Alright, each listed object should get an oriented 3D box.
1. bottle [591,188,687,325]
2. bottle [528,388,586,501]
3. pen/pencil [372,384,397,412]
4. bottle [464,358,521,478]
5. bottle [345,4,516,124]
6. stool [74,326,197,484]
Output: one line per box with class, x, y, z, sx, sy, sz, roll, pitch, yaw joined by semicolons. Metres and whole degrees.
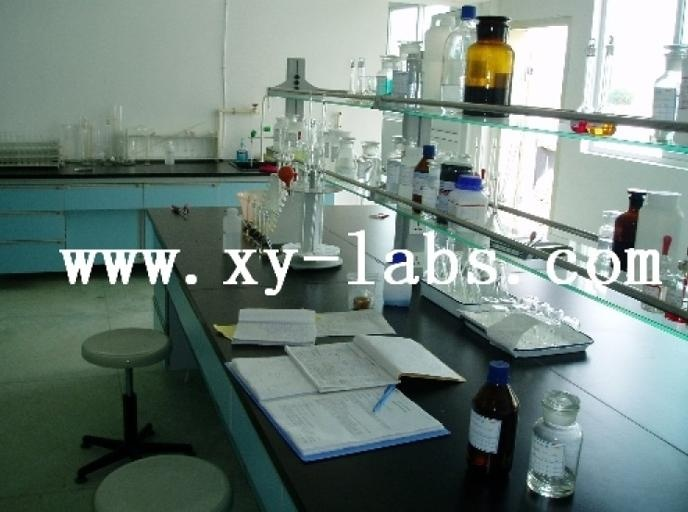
bottle;0.805;-0.081;1.580;0.124;0.206;0.263;-2;16;-3
bottle;0.533;0.447;1.419;0.169;0.250;0.088;-5;15;-14
pen/pencil;0.123;0.411;1.742;0.029;0.027;0.130;9;25;26
bottle;0.382;0.399;1.475;0.131;0.296;0.106;0;15;4
bottle;0.352;-0.713;2.253;0.240;0.361;0.814;1;11;-6
stool;-1.038;0.674;3.020;0.612;0.658;0.656;3;21;-2
